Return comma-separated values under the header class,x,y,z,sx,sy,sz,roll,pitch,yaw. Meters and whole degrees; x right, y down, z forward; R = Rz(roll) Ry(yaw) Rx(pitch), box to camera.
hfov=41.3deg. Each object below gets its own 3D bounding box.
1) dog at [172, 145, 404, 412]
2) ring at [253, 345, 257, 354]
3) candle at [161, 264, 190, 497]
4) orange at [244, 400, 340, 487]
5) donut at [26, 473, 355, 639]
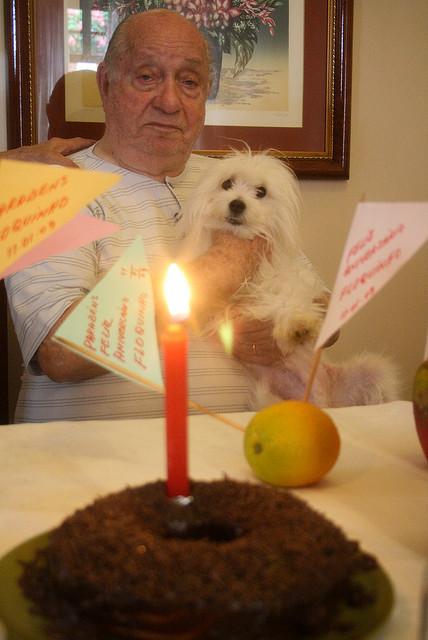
class,x,y,z,sx,sy,sz,roll,pitch,yaw
dog,0.201,-0.033,1.369,0.475,0.245,0.735,20,17,-3
ring,0.086,0.062,1.197,0.006,0.018,0.010,2,1,24
candle,-0.023,0.036,0.350,0.019,0.127,0.070,2,0,-3
orange,0.082,0.125,0.590,0.091,0.098,0.088,3,17,1
donut,-0.013,0.136,0.375,0.209,0.081,0.148,2,1,-18
